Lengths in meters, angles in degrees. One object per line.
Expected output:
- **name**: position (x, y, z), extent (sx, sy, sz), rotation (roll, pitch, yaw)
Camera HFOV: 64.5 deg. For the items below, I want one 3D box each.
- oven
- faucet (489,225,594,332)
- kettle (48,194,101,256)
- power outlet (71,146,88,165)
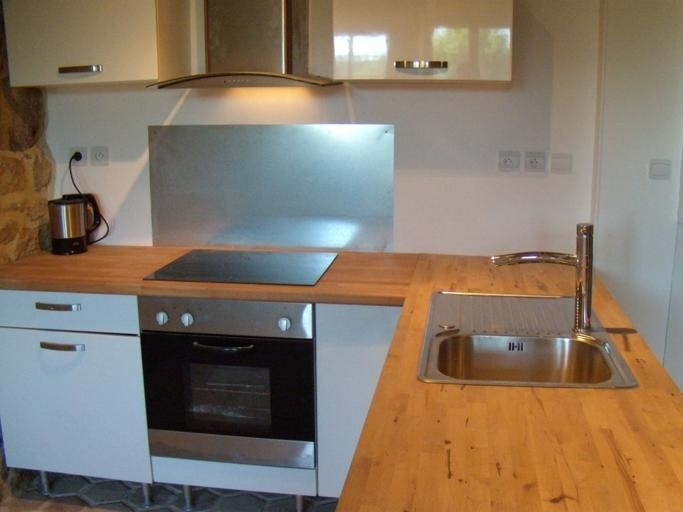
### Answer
- **oven**: position (-0.424, 0.476, 2.602), extent (0.748, 0.736, 0.707), rotation (3, 12, 13)
- **faucet**: position (0.654, 0.071, 1.675), extent (0.404, 0.341, 0.104), rotation (-5, 13, -24)
- **kettle**: position (-1.377, -0.161, 2.768), extent (0.225, 0.291, 0.293), rotation (-2, 12, -12)
- **power outlet**: position (-1.391, -0.537, 2.870), extent (0.097, 0.109, 0.012), rotation (0, -1, 0)
